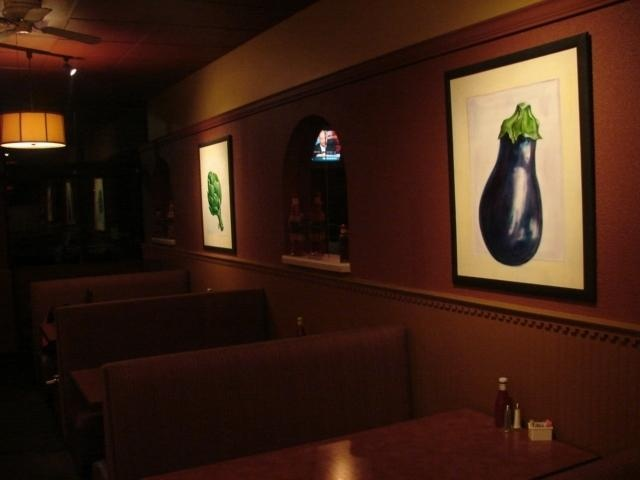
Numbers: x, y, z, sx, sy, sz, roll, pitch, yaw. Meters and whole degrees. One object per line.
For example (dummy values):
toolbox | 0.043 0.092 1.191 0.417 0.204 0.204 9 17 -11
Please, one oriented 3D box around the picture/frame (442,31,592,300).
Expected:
picture/frame | 0.923 -0.316 2.436 0.032 1.117 0.779 -5 4 -32
